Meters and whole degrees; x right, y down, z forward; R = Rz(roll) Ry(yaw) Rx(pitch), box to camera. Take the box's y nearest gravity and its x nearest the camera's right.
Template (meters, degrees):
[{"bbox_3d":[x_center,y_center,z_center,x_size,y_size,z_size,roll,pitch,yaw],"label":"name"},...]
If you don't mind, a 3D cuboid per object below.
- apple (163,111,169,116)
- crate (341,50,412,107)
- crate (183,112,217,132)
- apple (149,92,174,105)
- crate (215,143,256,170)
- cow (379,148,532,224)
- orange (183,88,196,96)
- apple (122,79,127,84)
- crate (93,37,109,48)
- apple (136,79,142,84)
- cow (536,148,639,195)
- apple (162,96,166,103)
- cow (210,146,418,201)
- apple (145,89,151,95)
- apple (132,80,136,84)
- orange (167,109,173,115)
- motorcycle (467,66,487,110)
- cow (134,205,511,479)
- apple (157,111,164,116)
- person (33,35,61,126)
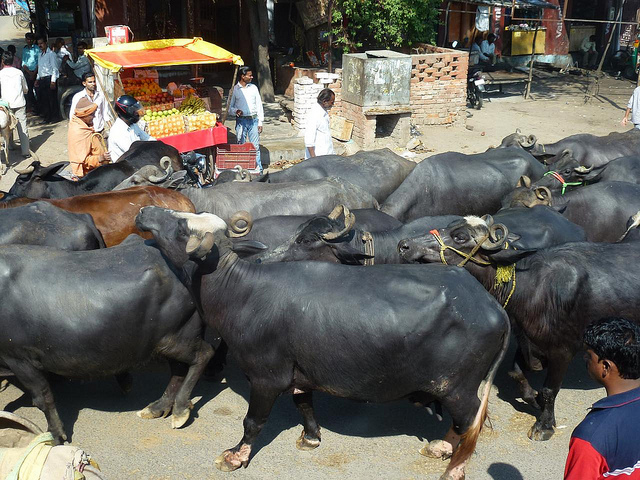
[{"bbox_3d":[-2.648,-2.179,10.526,0.077,0.076,0.083,0,17,41],"label":"apple"},{"bbox_3d":[1.239,-3.584,13.615,1.286,1.057,1.149,-8,21,-18],"label":"crate"},{"bbox_3d":[-2.115,-2.061,10.681,0.358,0.238,0.698,8,21,23],"label":"crate"},{"bbox_3d":[-2.897,-2.587,11.216,0.356,0.115,0.289,7,20,30],"label":"apple"},{"bbox_3d":[-1.399,-1.396,10.406,0.773,0.371,0.740,0,19,0],"label":"crate"},{"bbox_3d":[1.912,-0.741,8.235,1.733,1.119,1.563,-11,24,-38],"label":"cow"},{"bbox_3d":[-2.501,-2.821,11.684,0.139,0.093,0.164,0,24,-10],"label":"orange"},{"bbox_3d":[-3.625,-2.946,11.403,0.071,0.074,0.135,-13,23,-28],"label":"apple"},{"bbox_3d":[-4.570,-4.132,12.807,0.301,0.177,1.233,-8,21,-18],"label":"crate"},{"bbox_3d":[-3.367,-2.957,11.443,0.108,0.074,0.082,-6,21,-12],"label":"apple"},{"bbox_3d":[3.636,-0.939,8.414,1.518,0.759,0.497,-3,39,14],"label":"cow"},{"bbox_3d":[-2.848,-2.578,11.207,0.068,0.064,0.075,-7,64,-23],"label":"apple"},{"bbox_3d":[-0.139,-0.922,8.486,2.286,1.088,0.597,-6,53,-15],"label":"cow"},{"bbox_3d":[-3.155,-2.732,11.304,0.099,0.108,0.092,-2,8,0],"label":"apple"},{"bbox_3d":[-3.441,-2.935,11.381,0.043,0.068,0.086,7,22,22],"label":"apple"},{"bbox_3d":[-2.611,-2.226,10.640,0.082,0.041,0.077,-3,31,-9],"label":"orange"},{"bbox_3d":[4.299,-4.273,17.154,0.645,0.755,1.256,-1,33,4],"label":"motorcycle"},{"bbox_3d":[0.020,0.968,5.503,4.022,2.382,1.189,5,29,9],"label":"cow"},{"bbox_3d":[-2.725,-2.166,10.458,0.096,0.088,0.107,-5,-12,-19],"label":"apple"},{"bbox_3d":[-6.633,-3.860,14.866,0.670,1.971,0.894,-10,22,-21],"label":"person"}]
